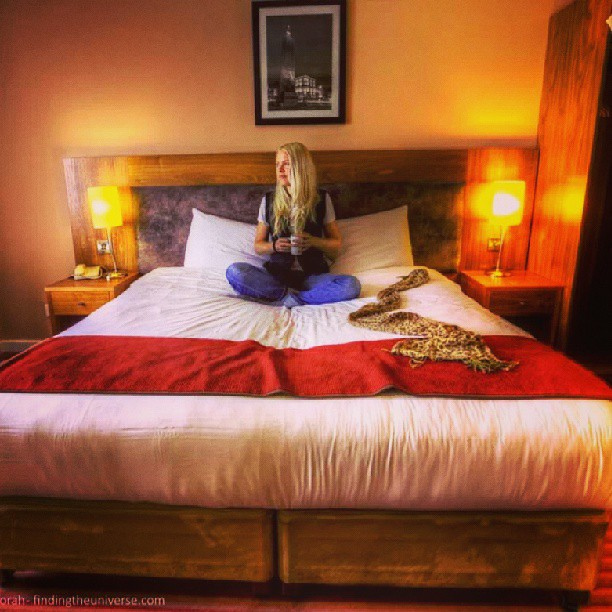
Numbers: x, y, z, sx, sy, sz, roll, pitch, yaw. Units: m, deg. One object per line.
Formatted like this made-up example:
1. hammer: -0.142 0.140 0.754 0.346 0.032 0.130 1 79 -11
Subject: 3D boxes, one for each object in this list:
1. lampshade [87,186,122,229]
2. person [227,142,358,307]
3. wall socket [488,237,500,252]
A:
1. lampshade: -1.113 -0.532 3.344 0.150 0.221 0.162 -8 -5 37
2. person: -0.093 -0.384 2.914 0.622 0.722 0.508 -4 12 -14
3. wall socket: 1.061 -0.346 3.451 0.102 0.085 0.051 0 0 10
